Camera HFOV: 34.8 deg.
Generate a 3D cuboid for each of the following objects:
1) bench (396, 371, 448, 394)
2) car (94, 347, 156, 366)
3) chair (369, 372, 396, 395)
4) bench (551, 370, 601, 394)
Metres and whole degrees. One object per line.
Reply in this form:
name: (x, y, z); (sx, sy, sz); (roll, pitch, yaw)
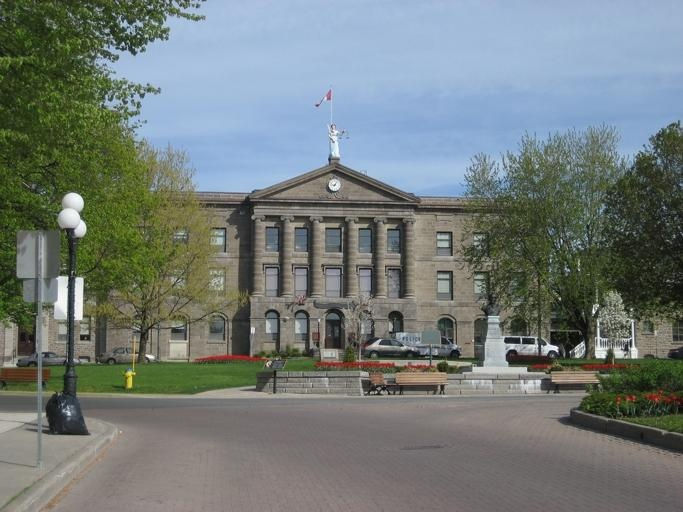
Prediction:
bench: (3.249, 5.216, 44.364); (2.382, 0.634, 1.094); (-1, -1, -15)
car: (-14.718, 6.769, 73.935); (2.865, 0.943, 4.754); (0, -1, -33)
chair: (1.645, 5.178, 44.262); (0.981, 0.636, 1.440); (-2, -1, 32)
bench: (9.872, 5.287, 46.145); (2.110, 0.716, 1.324); (-1, -1, 0)
